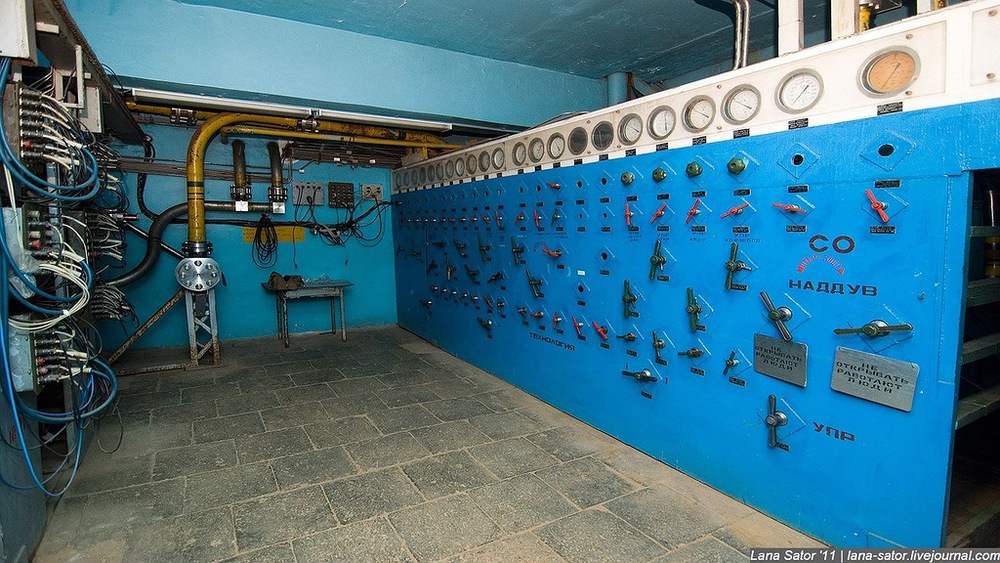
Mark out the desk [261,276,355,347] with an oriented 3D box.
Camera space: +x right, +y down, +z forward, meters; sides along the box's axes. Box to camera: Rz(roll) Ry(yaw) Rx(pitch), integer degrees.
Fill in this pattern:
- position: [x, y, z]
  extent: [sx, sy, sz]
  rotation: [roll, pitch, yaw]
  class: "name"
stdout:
- position: [-3.189, 0.422, 9.613]
  extent: [1.334, 1.156, 1.027]
  rotation: [-5, 13, -27]
  class: "desk"
